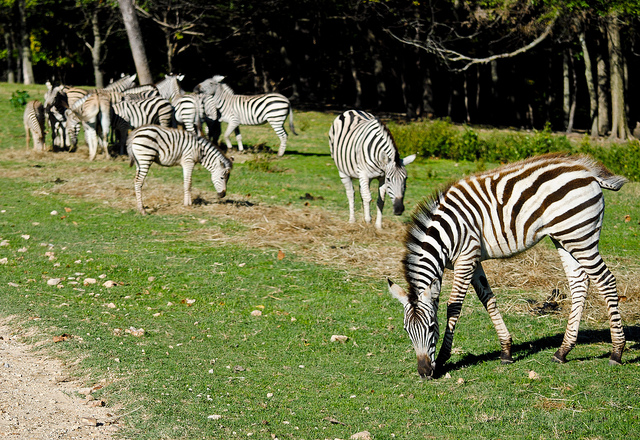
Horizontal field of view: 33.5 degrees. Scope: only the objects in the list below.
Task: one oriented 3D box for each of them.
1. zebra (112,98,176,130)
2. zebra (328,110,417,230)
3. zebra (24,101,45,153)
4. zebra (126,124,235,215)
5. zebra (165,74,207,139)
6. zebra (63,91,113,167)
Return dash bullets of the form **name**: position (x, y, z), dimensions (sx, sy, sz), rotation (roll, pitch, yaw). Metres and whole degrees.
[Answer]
- **zebra**: position (-5.954, -3.567, 35.835), dimensions (1.965, 1.003, 0.409), rotation (-3, 8, -32)
- **zebra**: position (1.384, -1.336, 31.015), dimensions (1.562, 3.341, 5.591), rotation (-2, 10, -13)
- **zebra**: position (-9.742, -3.153, 36.155), dimensions (0.655, 1.732, 1.171), rotation (0, 7, -15)
- **zebra**: position (-3.979, -1.358, 32.222), dimensions (2.595, 2.903, 3.387), rotation (-9, 23, -39)
- **zebra**: position (-4.709, -3.830, 37.255), dimensions (0.891, 2.030, 3.090), rotation (-15, 25, -25)
- **zebra**: position (-8.085, -3.346, 36.257), dimensions (1.006, 2.405, 3.413), rotation (-14, 16, -33)
